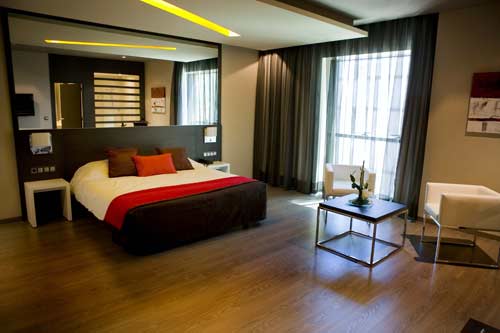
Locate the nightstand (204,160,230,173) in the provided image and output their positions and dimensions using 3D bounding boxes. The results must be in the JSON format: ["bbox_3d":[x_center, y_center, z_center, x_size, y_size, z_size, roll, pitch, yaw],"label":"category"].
[{"bbox_3d":[-0.769,-0.011,7.695,0.418,0.267,0.384,-13,11,-30],"label":"nightstand"}]

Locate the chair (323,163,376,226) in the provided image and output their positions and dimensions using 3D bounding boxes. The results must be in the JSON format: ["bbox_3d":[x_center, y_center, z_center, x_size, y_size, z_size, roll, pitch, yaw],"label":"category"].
[{"bbox_3d":[1.860,0.546,6.433,0.934,0.861,0.732,1,6,-15],"label":"chair"}]

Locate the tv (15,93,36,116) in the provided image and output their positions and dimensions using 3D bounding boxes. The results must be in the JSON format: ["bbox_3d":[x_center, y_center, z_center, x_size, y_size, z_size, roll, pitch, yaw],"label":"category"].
[{"bbox_3d":[-3.880,-1.061,5.670,0.040,0.351,0.324,9,14,20],"label":"tv"}]

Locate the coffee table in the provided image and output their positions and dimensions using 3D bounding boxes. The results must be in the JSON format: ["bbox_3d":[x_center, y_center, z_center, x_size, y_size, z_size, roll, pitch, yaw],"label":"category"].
[{"bbox_3d":[1.846,0.788,5.358,1.235,0.847,1.196,-10,16,-43],"label":"coffee table"}]

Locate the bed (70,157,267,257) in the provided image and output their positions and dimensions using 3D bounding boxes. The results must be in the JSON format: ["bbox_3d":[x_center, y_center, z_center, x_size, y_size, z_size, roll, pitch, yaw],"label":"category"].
[{"bbox_3d":[-1.310,0.595,5.733,3.232,1.164,1.736,-4,12,-13],"label":"bed"}]

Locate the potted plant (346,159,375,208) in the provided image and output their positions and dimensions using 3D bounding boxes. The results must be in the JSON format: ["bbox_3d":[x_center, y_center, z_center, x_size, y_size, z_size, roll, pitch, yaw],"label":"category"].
[{"bbox_3d":[1.789,0.260,5.316,0.402,0.650,0.373,6,9,33],"label":"potted plant"}]

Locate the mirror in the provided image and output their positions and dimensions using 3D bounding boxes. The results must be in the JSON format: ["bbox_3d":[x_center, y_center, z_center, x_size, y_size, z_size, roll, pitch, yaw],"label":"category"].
[{"bbox_3d":[-2.575,-1.745,6.446,3.501,2.009,0.315,-8,14,-30],"label":"mirror"}]
